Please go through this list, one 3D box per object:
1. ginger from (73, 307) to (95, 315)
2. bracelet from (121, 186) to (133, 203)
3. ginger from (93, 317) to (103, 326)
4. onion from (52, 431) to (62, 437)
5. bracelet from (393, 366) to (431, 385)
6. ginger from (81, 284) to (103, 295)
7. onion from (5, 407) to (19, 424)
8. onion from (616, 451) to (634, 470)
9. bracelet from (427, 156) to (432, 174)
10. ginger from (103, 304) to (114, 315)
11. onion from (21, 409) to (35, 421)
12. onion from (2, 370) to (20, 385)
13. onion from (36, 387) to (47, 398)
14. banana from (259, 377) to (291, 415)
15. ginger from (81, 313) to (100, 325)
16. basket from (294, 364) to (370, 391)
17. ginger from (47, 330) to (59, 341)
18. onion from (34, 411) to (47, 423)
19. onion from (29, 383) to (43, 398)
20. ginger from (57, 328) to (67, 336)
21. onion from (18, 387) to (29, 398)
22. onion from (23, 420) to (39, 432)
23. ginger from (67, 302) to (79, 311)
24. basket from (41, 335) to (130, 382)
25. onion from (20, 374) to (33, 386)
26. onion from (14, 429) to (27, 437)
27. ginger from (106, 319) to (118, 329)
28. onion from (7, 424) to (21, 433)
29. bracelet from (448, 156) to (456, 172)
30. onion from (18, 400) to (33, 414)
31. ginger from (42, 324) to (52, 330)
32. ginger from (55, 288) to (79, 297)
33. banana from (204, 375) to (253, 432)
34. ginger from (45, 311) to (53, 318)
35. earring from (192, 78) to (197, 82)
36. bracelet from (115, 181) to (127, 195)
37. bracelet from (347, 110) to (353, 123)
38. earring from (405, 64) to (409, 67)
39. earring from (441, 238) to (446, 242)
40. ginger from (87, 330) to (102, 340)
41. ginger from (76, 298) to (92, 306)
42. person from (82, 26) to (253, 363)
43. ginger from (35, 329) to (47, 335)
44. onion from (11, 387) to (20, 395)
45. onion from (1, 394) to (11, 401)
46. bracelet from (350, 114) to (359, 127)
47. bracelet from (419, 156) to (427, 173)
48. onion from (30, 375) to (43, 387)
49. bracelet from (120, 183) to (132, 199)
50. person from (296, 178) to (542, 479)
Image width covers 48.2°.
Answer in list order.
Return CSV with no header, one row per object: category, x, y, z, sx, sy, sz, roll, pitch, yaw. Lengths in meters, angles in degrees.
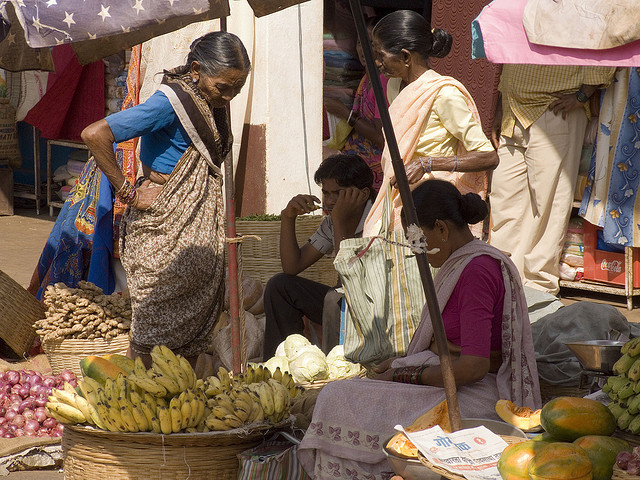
ginger,-1.878,0.569,5.700,0.175,0.055,0.045,-10,-31,-25
bracelet,-1.177,-0.279,4.357,0.061,0.064,0.047,18,-37,10
ginger,-1.770,0.648,5.687,0.024,0.062,0.045,19,-24,46
onion,-1.803,1.341,4.935,0.034,0.033,0.033,5,-18,-27
bracelet,0.453,0.694,3.656,0.132,0.085,0.054,-2,-8,29
ginger,-1.901,0.402,5.956,0.107,0.031,0.111,17,-6,9
onion,-2.198,1.241,5.073,0.077,0.082,0.095,-13,27,0
onion,1.139,0.831,2.692,0.054,0.056,0.017,-18,-33,39
bracelet,0.699,-0.477,4.538,0.022,0.076,0.055,4,0,0
ginger,-1.705,0.563,5.783,0.064,0.018,0.067,17,41,8
onion,-2.058,1.235,5.036,0.066,0.038,0.069,-9,-31,9
onion,-2.371,1.058,5.478,0.119,0.091,0.116,2,-4,-25
onion,-2.060,1.126,5.279,0.027,0.070,0.069,37,22,16
banana,-0.256,0.882,4.037,0.132,0.182,0.063,-33,-6,5
ginger,-1.835,0.630,5.681,0.107,0.065,0.031,-37,14,-16
basket,0.066,0.864,4.393,0.452,0.193,0.602,1,-3,-1
ginger,-2.104,0.754,5.640,0.071,0.073,0.026,-29,-33,-3
onion,-1.966,1.241,5.023,0.066,0.070,0.066,20,-31,-17
onion,-2.131,1.118,5.350,0.044,0.085,0.084,34,9,-29
ginger,-2.035,0.727,5.611,0.048,0.039,0.022,-30,-2,-13
onion,-2.206,1.134,5.334,0.062,0.065,0.063,3,38,4
onion,-1.981,1.276,4.908,0.065,0.081,0.068,-13,-55,34
ginger,-1.973,0.532,5.673,0.058,0.020,0.059,28,-13,20
basket,-1.915,0.880,5.710,0.516,0.249,0.505,-1,-2,6
onion,-2.242,1.073,5.478,0.076,0.073,0.079,-3,-34,6
onion,-2.036,1.308,4.859,0.068,0.031,0.106,4,-4,-39
ginger,-1.667,0.672,5.715,0.067,0.070,0.027,-8,-11,-11
onion,-2.112,1.290,4.913,0.050,0.042,0.047,-27,-43,-6
bracelet,0.858,-0.488,4.605,0.031,0.100,0.070,2,-3,-12
onion,-2.121,1.192,5.139,0.082,0.047,0.083,-23,47,-24
ginger,-2.175,0.693,5.675,0.052,0.017,0.033,-17,8,22
ginger,-2.044,0.428,5.779,0.173,0.068,0.114,2,-4,-21
banana,-0.506,0.905,3.956,0.175,0.094,0.250,36,10,-9
ginger,-2.196,0.618,5.781,0.043,0.060,0.026,-1,21,15
earring,-0.778,-0.988,4.432,0.020,0.021,0.005,-4,7,11
bracelet,-1.222,-0.314,4.363,0.084,0.083,0.038,0,-3,22
bracelet,0.281,-1.187,7.006,0.048,0.067,0.067,15,34,-17
earring,0.580,-1.152,4.752,0.027,0.013,0.017,2,-3,-13
earring,0.635,0.001,3.671,0.013,0.021,0.006,-8,-2,17
ginger,-1.802,0.758,5.703,0.079,0.030,0.059,-31,-6,10
ginger,-1.895,0.498,5.724,0.063,0.021,0.066,14,-3,26
person,-0.918,-0.261,4.526,0.899,2.044,0.538,1,-3,-8
ginger,-2.217,0.743,5.692,0.047,0.019,0.062,8,-12,10
onion,-2.294,1.126,5.367,0.048,0.026,0.050,18,54,39
onion,-2.331,1.164,5.278,0.031,0.024,0.032,2,-42,-11
bracelet,0.336,-1.155,6.927,0.066,0.090,0.088,27,32,0
bracelet,0.660,-0.472,4.550,0.054,0.090,0.037,2,-3,-14
onion,-2.150,1.059,5.411,0.067,0.070,0.066,-4,38,-8
bracelet,-1.187,-0.295,4.353,0.062,0.065,0.064,-12,-18,-12
person,0.534,0.461,3.676,1.146,1.548,0.528,0,-3,17
